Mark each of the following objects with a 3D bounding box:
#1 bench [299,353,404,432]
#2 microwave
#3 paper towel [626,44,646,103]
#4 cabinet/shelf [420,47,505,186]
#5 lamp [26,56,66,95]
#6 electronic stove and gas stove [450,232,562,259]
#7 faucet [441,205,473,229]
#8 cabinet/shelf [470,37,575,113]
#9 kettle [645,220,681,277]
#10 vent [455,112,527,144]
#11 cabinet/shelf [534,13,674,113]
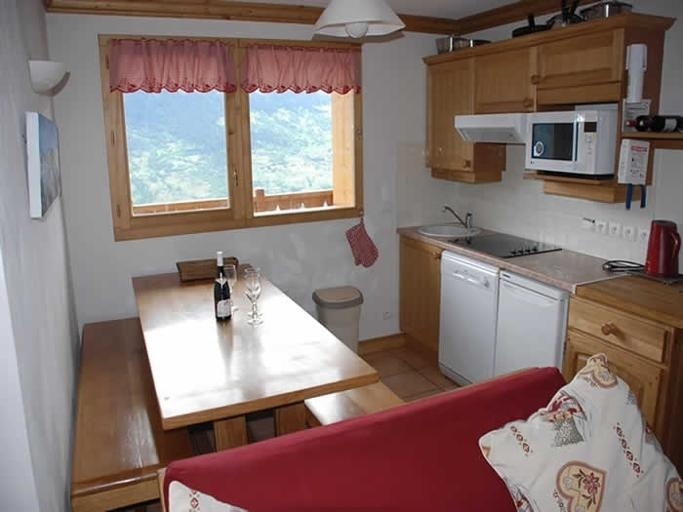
[{"bbox_3d":[0.039,0.605,2.799,0.352,0.247,0.527,-13,25,-24],"label":"bench"},{"bbox_3d":[1.538,-0.756,3.437,0.300,0.393,0.561,-12,18,-27],"label":"microwave"},{"bbox_3d":[1.699,-1.045,2.974,0.099,0.297,0.062,3,12,27],"label":"paper towel"},{"bbox_3d":[1.000,-1.152,4.167,0.414,1.315,0.815,-9,19,-22],"label":"cabinet/shelf"},{"bbox_3d":[-1.526,-0.904,2.630,0.175,0.167,0.197,12,21,18],"label":"lamp"},{"bbox_3d":[1.244,-0.090,4.015,0.336,0.053,0.424,-9,19,-23],"label":"electronic stove and gas stove"},{"bbox_3d":[1.134,-0.352,4.732,0.378,0.246,0.135,5,0,-27],"label":"faucet"},{"bbox_3d":[1.295,-1.301,3.853,0.330,0.467,0.641,-13,18,-23],"label":"cabinet/shelf"},{"bbox_3d":[1.936,-0.042,3.097,0.175,0.336,0.117,2,13,25],"label":"kettle"},{"bbox_3d":[1.118,-0.962,3.898,0.200,0.244,0.752,-8,12,-16],"label":"vent"},{"bbox_3d":[1.602,-1.160,3.255,0.367,0.546,0.750,-14,16,-40],"label":"cabinet/shelf"}]
